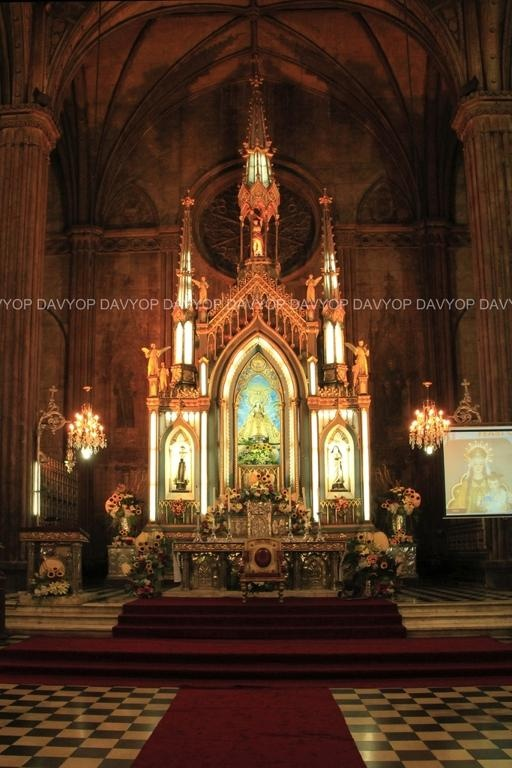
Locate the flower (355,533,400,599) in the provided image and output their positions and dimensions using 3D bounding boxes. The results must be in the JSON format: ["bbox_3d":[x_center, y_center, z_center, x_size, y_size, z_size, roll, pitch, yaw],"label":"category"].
[{"bbox_3d":[1.773,2.644,12.256,0.596,0.890,0.880,-3,-9,9],"label":"flower"}]

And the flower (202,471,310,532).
[{"bbox_3d":[0.005,2.089,14.577,1.903,1.072,1.298,-2,-9,1],"label":"flower"}]

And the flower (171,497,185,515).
[{"bbox_3d":[-1.464,2.327,15.876,0.277,0.308,0.269,0,-4,-8],"label":"flower"}]

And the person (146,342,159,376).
[{"bbox_3d":[-2.122,-0.509,17.201,0.265,0.838,1.004,0,-9,-7],"label":"person"}]

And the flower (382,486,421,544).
[{"bbox_3d":[2.802,2.558,16.599,0.750,1.056,0.873,-4,-10,-6],"label":"flower"}]

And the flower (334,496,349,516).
[{"bbox_3d":[1.603,2.245,15.635,0.355,0.319,0.138,-1,-8,5],"label":"flower"}]

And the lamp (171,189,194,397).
[{"bbox_3d":[-1.517,-2.016,17.546,0.505,4.429,1.149,-1,-9,-4],"label":"lamp"}]

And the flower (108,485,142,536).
[{"bbox_3d":[-2.691,2.588,17.022,0.637,1.071,0.701,-2,-9,5],"label":"flower"}]

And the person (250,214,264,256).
[{"bbox_3d":[0.028,-3.186,17.895,0.272,1.071,0.446,-1,-9,0],"label":"person"}]

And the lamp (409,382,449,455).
[{"bbox_3d":[3.396,0.633,16.324,0.833,1.355,0.804,-6,7,-6],"label":"lamp"}]

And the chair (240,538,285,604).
[{"bbox_3d":[0.089,2.557,11.559,0.600,0.826,0.521,-1,-9,0],"label":"chair"}]
